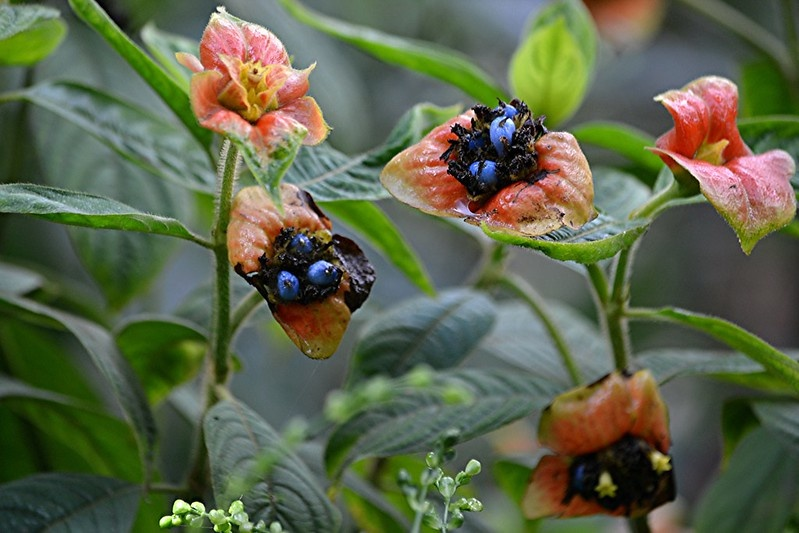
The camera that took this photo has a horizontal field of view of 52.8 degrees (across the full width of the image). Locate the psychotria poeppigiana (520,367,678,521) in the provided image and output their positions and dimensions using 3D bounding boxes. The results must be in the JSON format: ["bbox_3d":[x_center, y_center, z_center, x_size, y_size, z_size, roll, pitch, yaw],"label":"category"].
[{"bbox_3d":[0.203,0.189,0.848,0.152,0.146,0.071,-4,-11,7],"label":"psychotria poeppigiana"}]

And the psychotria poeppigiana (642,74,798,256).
[{"bbox_3d":[0.333,-0.108,0.822,0.173,0.202,0.060,1,-11,-16],"label":"psychotria poeppigiana"}]

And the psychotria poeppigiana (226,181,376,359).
[{"bbox_3d":[-0.108,0.027,0.845,0.130,0.188,0.072,-20,-2,-24],"label":"psychotria poeppigiana"}]
